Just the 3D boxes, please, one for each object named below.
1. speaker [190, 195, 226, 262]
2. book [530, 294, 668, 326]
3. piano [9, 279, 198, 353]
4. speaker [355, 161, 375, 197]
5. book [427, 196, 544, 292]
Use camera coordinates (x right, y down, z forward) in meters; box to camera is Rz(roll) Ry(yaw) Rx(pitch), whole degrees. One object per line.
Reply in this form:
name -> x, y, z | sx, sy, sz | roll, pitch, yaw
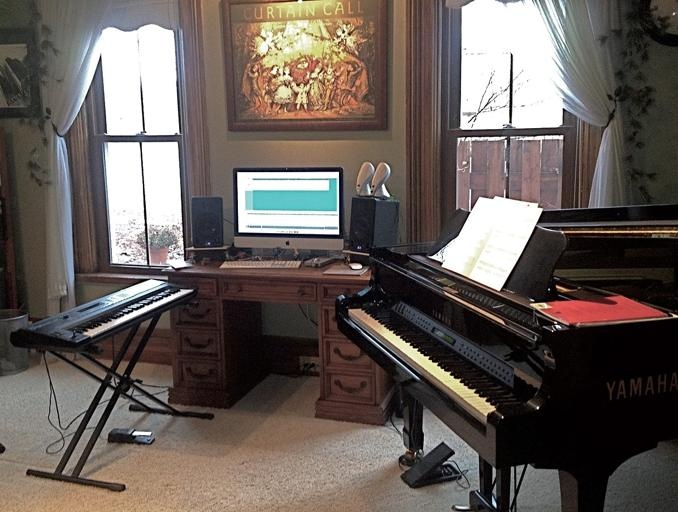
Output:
speaker -> -0.987, -0.201, 4.315 | 0.240, 0.477, 0.172 | -5, 11, -13
book -> 1.030, 0.211, 2.281 | 0.489, 0.033, 0.257 | -4, 12, -7
piano -> -1.395, 0.346, 3.547 | 0.405, 0.171, 1.082 | 4, 13, 28
speaker -> 0.188, -0.543, 4.056 | 0.136, 0.223, 0.090 | -4, 11, -7
book -> 0.659, -0.048, 2.596 | 0.101, 0.422, 0.442 | 13, 7, -28
